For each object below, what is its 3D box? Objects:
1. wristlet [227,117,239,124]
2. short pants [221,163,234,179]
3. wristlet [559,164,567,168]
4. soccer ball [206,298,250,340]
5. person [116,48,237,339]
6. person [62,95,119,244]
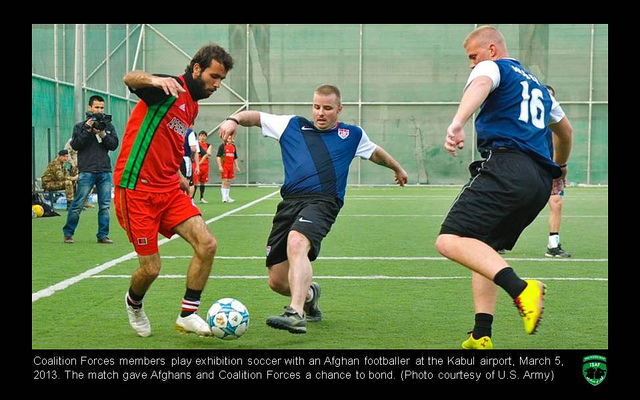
[{"bbox_3d":[-0.887,-0.816,6.561,0.114,0.065,0.189,-1,9,-7],"label":"wristlet"},{"bbox_3d":[-2.736,-0.884,18.904,0.283,0.457,0.430,-17,-19,32],"label":"short pants"},{"bbox_3d":[2.464,-0.350,6.477,0.068,0.015,0.069,-3,3,40],"label":"wristlet"},{"bbox_3d":[-0.858,1.108,6.163,0.359,0.390,0.310,1,0,18],"label":"soccer ball"},{"bbox_3d":[-1.472,-0.099,6.313,1.045,2.793,0.675,-2,9,-13],"label":"person"},{"bbox_3d":[-3.665,-0.539,10.390,0.895,2.357,0.855,3,-8,-39],"label":"person"}]
